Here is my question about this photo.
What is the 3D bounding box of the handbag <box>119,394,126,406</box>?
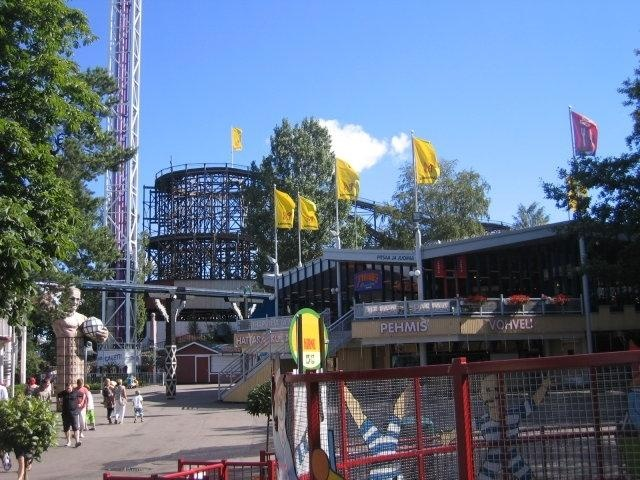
[{"bbox_3d":[-7.709,6.296,31.687,0.177,0.292,0.104,-5,-8,-2],"label":"handbag"}]

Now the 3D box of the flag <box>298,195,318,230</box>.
[{"bbox_3d":[-0.722,-1.585,47.114,0.940,2.120,1.648,-1,-8,-7],"label":"flag"}]

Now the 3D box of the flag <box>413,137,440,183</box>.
[{"bbox_3d":[4.793,-3.610,36.957,1.099,2.131,0.665,-3,-8,7],"label":"flag"}]

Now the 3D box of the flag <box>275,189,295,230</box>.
[{"bbox_3d":[-2.057,-1.802,46.706,1.021,2.432,1.239,-1,-8,-1],"label":"flag"}]

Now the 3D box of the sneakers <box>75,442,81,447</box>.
[{"bbox_3d":[-7.621,6.485,25.544,0.105,0.132,0.153,-2,-45,0],"label":"sneakers"}]

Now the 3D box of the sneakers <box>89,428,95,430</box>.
[{"bbox_3d":[-8.373,6.988,29.817,0.111,0.063,0.173,0,-5,9],"label":"sneakers"}]
